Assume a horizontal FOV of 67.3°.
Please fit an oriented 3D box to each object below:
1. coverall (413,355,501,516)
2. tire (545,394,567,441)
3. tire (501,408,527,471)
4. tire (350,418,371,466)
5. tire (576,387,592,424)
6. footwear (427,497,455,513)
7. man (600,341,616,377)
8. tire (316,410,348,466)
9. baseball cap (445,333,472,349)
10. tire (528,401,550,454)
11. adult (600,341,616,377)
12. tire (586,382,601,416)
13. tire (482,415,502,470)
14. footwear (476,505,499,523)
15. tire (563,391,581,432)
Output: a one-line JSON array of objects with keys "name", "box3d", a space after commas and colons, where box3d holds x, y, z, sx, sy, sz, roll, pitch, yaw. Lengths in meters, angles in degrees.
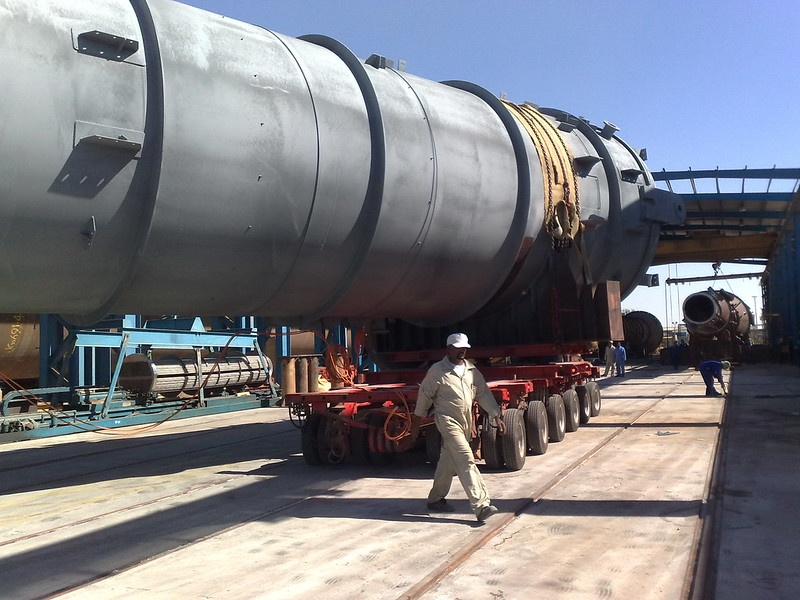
[{"name": "coverall", "box3d": [0.751, 1.682, 7.749, 0.840, 2.143, 1.475, 2, -6, -31]}, {"name": "tire", "box3d": [3.047, 2.301, 11.881, 0.279, 0.955, 0.924, -5, -6, 26]}, {"name": "tire", "box3d": [1.788, 2.217, 9.568, 0.241, 0.826, 0.745, -3, -31, 14]}, {"name": "tire", "box3d": [-0.678, 2.397, 10.351, 0.237, 0.768, 0.745, -1, -11, 10]}, {"name": "tire", "box3d": [4.325, 2.481, 14.219, 0.270, 0.854, 0.825, -3, -3, 24]}, {"name": "footwear", "box3d": [0.511, 2.611, 7.704, 0.366, 0.172, 0.138, -6, -9, 25]}, {"name": "man", "box3d": [10.152, 2.868, 29.122, 0.459, 1.481, 1.784, -2, -3, 19]}, {"name": "tire", "box3d": [-1.219, 2.380, 10.457, 0.474, 0.968, 0.822, -4, -15, 24]}, {"name": "baseball cap", "box3d": [0.708, 0.512, 7.790, 0.224, 0.152, 0.299, 5, -8, -18]}, {"name": "tire", "box3d": [2.450, 2.271, 10.749, 0.261, 0.901, 0.868, -3, 3, 22]}, {"name": "adult", "box3d": [10.157, 2.869, 29.138, 0.459, 1.481, 1.809, -2, -3, 19]}, {"name": "tire", "box3d": [4.868, 2.492, 15.216, 0.288, 0.891, 0.860, -3, -2, 26]}, {"name": "tire", "box3d": [1.429, 2.165, 9.347, 0.291, 0.896, 0.779, -1, -27, 11]}, {"name": "footwear", "box3d": [1.062, 2.534, 7.222, 0.358, 0.208, 0.170, 2, -4, -45]}, {"name": "tire", "box3d": [3.706, 2.408, 13.074, 0.234, 0.740, 0.713, -9, 11, 18]}]
